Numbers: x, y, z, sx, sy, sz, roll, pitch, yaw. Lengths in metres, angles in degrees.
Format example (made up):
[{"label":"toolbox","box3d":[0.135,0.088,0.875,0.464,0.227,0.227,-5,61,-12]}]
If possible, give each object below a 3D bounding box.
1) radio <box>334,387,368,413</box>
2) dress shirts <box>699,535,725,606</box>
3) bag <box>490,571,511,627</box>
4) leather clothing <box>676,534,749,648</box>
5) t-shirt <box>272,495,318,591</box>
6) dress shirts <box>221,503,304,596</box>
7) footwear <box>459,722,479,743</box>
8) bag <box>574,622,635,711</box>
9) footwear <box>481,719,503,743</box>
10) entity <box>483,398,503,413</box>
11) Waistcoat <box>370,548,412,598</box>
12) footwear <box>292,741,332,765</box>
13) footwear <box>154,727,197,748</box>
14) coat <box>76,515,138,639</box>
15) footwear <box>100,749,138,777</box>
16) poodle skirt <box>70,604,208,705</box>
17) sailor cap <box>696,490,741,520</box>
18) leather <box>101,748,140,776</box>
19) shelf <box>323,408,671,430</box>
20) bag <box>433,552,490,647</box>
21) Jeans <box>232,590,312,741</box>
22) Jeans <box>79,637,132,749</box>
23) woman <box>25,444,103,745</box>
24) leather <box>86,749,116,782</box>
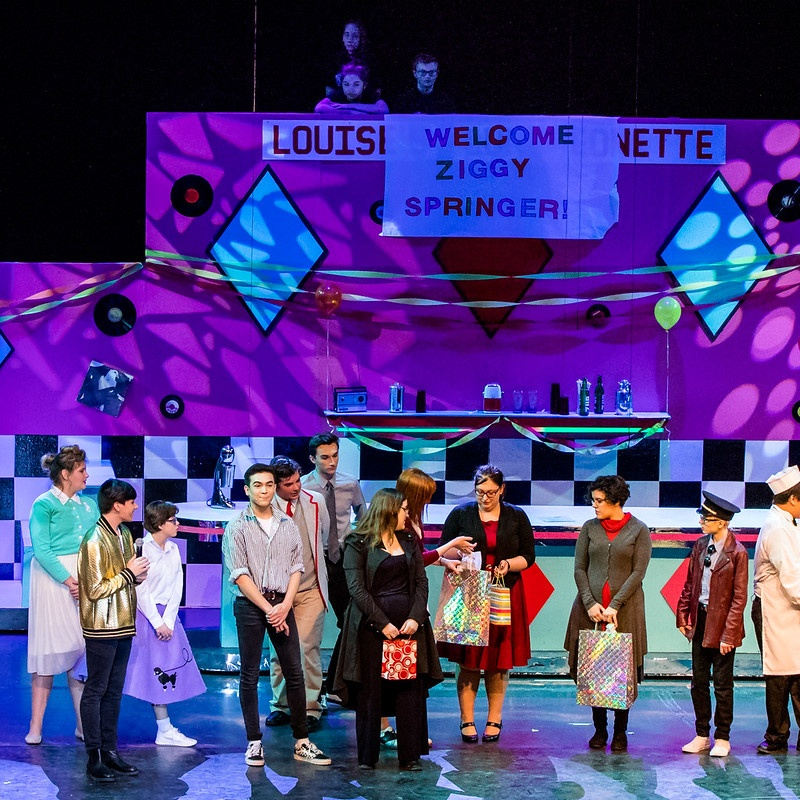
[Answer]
[{"label":"radio","box3d":[-0.294,-0.004,8.497,0.224,0.176,0.139,1,-4,-20]},{"label":"dress shirts","box3d":[1.495,0.842,6.561,0.063,0.275,0.192,6,4,-1]},{"label":"bag","box3d":[0.496,0.987,6.600,0.099,0.233,0.159,2,7,10]},{"label":"leather clothing","box3d":[1.520,0.914,6.565,0.327,0.551,0.286,4,8,22]},{"label":"t-shirt","box3d":[-0.470,0.720,6.770,0.263,0.384,0.391,-8,39,3]},{"label":"dress shirts","box3d":[-0.626,0.703,6.388,0.378,0.403,0.208,1,-9,-20]},{"label":"footwear","box3d":[0.347,1.645,6.698,0.065,0.072,0.195,0,-8,-3]},{"label":"bag","box3d":[0.986,1.245,6.516,0.249,0.421,0.145,2,12,11]},{"label":"footwear","box3d":[0.465,1.640,6.710,0.070,0.065,0.210,-3,-9,13]},{"label":"entity","box3d":[0.584,0.025,8.439,0.083,0.083,0.080,2,-3,-36]},{"label":"Waistcoat","box3d":[-0.034,0.810,6.255,0.204,0.282,0.165,3,-16,-11]},{"label":"footwear","box3d":[-0.410,1.643,6.365,0.208,0.089,0.079,6,5,31]},{"label":"footwear","box3d":[-1.085,1.628,6.559,0.188,0.087,0.084,2,-3,-3]},{"label":"coat","box3d":[-1.340,0.813,6.213,0.256,0.539,0.170,-1,7,-14]},{"label":"footwear","box3d":[-1.280,1.651,6.164,0.198,0.093,0.078,4,-2,7]},{"label":"poodle skirt","box3d":[-1.306,1.193,6.670,0.592,0.674,0.445,0,2,-25]},{"label":"sailor cap","box3d":[1.561,0.514,6.602,0.173,0.092,0.153,8,10,-8]},{"label":"leather","box3d":[-1.275,1.663,6.216,0.190,0.127,0.078,3,-3,-2]},{"label":"shelf","box3d":[0.593,0.131,8.377,2.078,0.135,0.106,1,7,0]},{"label":"bag","box3d":[0.323,0.938,6.651,0.256,0.448,0.264,7,14,17]},{"label":"Jeans","box3d":[-0.601,1.257,6.328,0.337,0.719,0.254,0,7,-8]},{"label":"Jeans","box3d":[-1.339,1.350,6.227,0.139,0.554,0.292,5,8,31]},{"label":"woman","box3d":[-1.675,0.942,6.674,0.427,1.434,0.389,4,-11,-32]},{"label":"leather","box3d":[-1.346,1.645,6.114,0.144,0.123,0.092,7,10,42]}]
